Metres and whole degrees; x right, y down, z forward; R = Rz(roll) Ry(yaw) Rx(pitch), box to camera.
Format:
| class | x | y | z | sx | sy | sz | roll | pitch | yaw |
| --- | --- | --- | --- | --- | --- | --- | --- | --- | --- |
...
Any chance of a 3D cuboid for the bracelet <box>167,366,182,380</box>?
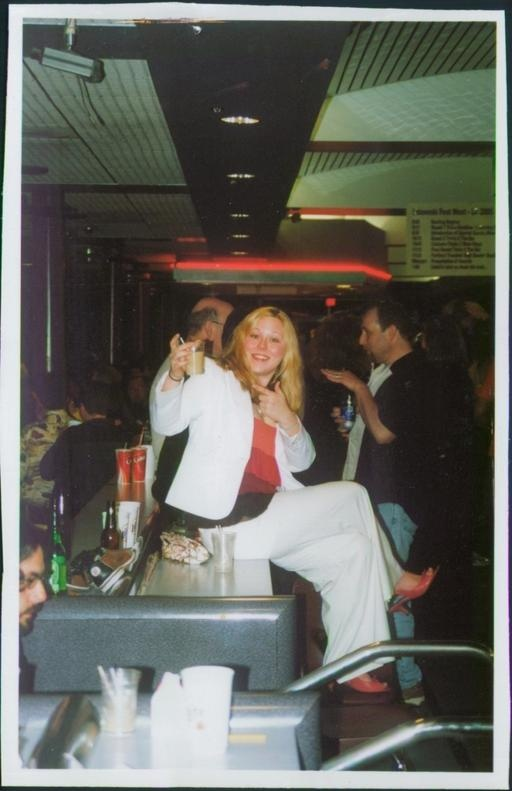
| class | x | y | z | sx | sy | sz | roll | pitch | yaw |
| --- | --- | --- | --- | --- | --- | --- | --- | --- | --- |
| bracelet | -0.219 | -0.059 | 1.827 | 0.039 | 0.047 | 0.070 | 2 | 3 | -7 |

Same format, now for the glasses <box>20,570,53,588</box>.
| class | x | y | z | sx | sy | sz | roll | pitch | yaw |
| --- | --- | --- | --- | --- | --- | --- | --- | --- | --- |
| glasses | -0.505 | 0.416 | 1.539 | 0.055 | 0.027 | 0.071 | 7 | 7 | -22 |

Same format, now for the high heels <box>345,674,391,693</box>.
| class | x | y | z | sx | sy | sz | roll | pitch | yaw |
| --- | --- | --- | --- | --- | --- | --- | --- | --- | --- |
| high heels | 0.313 | 0.818 | 1.922 | 0.139 | 0.050 | 0.050 | 3 | 12 | 3 |

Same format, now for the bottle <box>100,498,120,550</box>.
| class | x | y | z | sx | sy | sz | roll | pitch | yaw |
| --- | --- | --- | --- | --- | --- | --- | --- | --- | --- |
| bottle | -0.374 | 0.321 | 1.736 | 0.047 | 0.124 | 0.139 | 2 | 3 | -11 |

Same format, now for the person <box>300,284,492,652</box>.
| class | x | y | z | sx | sy | sz | roll | pitch | yaw |
| --- | --- | --- | --- | --- | --- | --- | --- | --- | --- |
| person | 0.389 | 0.194 | 1.892 | 0.359 | 0.948 | 0.358 | 1 | 1 | 21 |

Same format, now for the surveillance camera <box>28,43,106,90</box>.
| class | x | y | z | sx | sy | sz | roll | pitch | yaw |
| --- | --- | --- | --- | --- | --- | --- | --- | --- | --- |
| surveillance camera | -0.407 | -0.717 | 1.491 | 0.119 | 0.055 | 0.078 | -7 | 6 | -41 |

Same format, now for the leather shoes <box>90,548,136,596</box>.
| class | x | y | z | sx | sy | sz | roll | pitch | yaw |
| --- | --- | --- | --- | --- | --- | --- | --- | --- | --- |
| leather shoes | -0.353 | 0.418 | 1.630 | 0.074 | 0.069 | 0.157 | 2 | 3 | 3 |

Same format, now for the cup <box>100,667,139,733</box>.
| class | x | y | z | sx | sy | sz | roll | pitch | yaw |
| --- | --- | --- | --- | --- | --- | --- | --- | --- | --- |
| cup | -0.271 | 0.592 | 1.335 | 0.077 | 0.145 | 0.070 | 2 | 3 | 0 |
